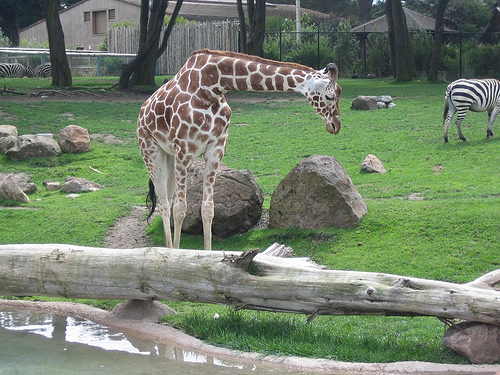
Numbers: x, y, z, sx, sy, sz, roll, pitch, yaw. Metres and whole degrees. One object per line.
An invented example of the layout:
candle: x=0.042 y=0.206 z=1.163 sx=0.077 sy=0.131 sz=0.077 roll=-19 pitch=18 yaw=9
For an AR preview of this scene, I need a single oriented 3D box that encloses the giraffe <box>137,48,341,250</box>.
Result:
giraffe: x=-0.395 y=-0.510 z=11.074 sx=3.870 sy=3.605 sz=1.093 roll=1 pitch=8 yaw=29
